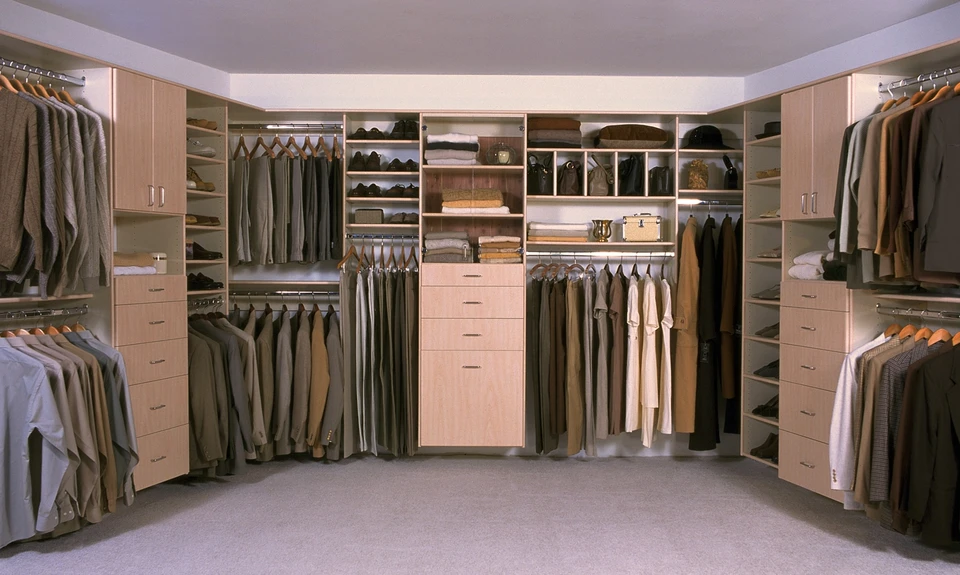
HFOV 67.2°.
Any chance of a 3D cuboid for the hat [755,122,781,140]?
[{"bbox_3d":[2.839,-1.529,7.046,0.168,0.080,0.207,-6,2,8],"label":"hat"}]
